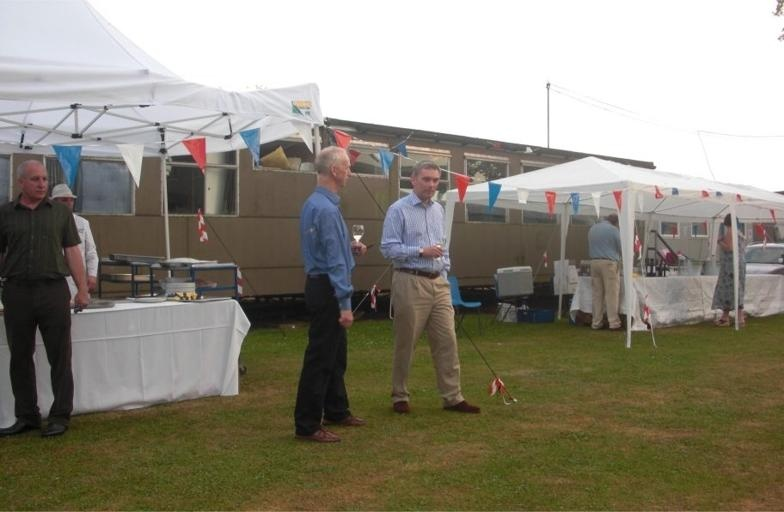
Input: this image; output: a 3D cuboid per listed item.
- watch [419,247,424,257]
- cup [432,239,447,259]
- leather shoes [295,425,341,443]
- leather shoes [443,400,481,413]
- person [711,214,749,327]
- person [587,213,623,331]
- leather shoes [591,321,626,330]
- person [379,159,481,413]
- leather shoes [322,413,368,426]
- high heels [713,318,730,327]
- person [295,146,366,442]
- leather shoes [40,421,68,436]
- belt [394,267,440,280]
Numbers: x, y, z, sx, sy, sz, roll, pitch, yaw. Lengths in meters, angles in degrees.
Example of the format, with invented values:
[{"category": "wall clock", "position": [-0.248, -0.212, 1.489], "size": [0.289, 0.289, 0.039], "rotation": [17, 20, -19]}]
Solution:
[{"category": "watch", "position": [0.259, -0.042, 5.909], "size": [0.046, 0.061, 0.069], "rotation": [0, 17, 3]}, {"category": "cup", "position": [0.418, -0.068, 5.941], "size": [0.062, 0.170, 0.128], "rotation": [-3, 18, 17]}, {"category": "leather shoes", "position": [-0.609, 1.430, 5.438], "size": [0.306, 0.107, 0.143], "rotation": [-1, -2, 5]}, {"category": "leather shoes", "position": [0.651, 1.396, 6.211], "size": [0.347, 0.134, 0.126], "rotation": [-3, -5, 13]}, {"category": "person", "position": [5.625, 0.203, 11.195], "size": [0.473, 1.833, 1.611], "rotation": [3, 6, 27]}, {"category": "person", "position": [3.315, 0.302, 10.461], "size": [0.493, 1.680, 0.354], "rotation": [3, 6, 24]}, {"category": "leather shoes", "position": [3.363, 1.101, 10.484], "size": [0.199, 0.125, 0.283], "rotation": [0, -5, -29]}, {"category": "person", "position": [0.274, 0.284, 6.087], "size": [0.735, 2.284, 0.422], "rotation": [0, 6, 4]}, {"category": "leather shoes", "position": [-0.405, 1.395, 5.801], "size": [0.359, 0.123, 0.129], "rotation": [0, -2, -1]}, {"category": "high heels", "position": [5.427, 1.092, 11.005], "size": [0.239, 0.097, 0.124], "rotation": [3, -3, -16]}, {"category": "person", "position": [-0.555, 0.300, 5.452], "size": [0.479, 2.386, 0.528], "rotation": [0, 6, -5]}, {"category": "leather shoes", "position": [-2.776, 1.414, 5.560], "size": [0.229, 0.108, 0.173], "rotation": [-4, 7, -38]}, {"category": "belt", "position": [0.231, 0.148, 5.990], "size": [0.393, 0.099, 0.110], "rotation": [0, 6, -1]}]
